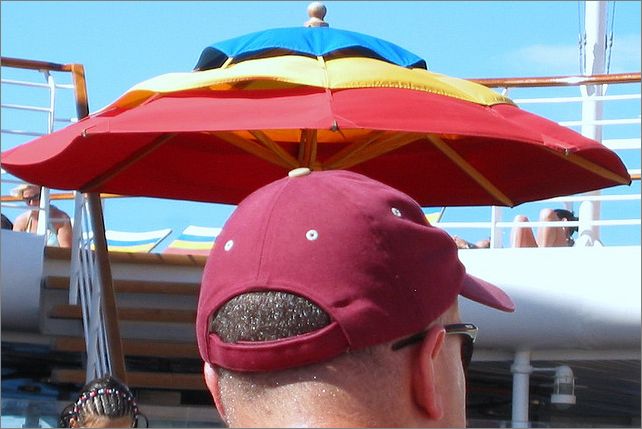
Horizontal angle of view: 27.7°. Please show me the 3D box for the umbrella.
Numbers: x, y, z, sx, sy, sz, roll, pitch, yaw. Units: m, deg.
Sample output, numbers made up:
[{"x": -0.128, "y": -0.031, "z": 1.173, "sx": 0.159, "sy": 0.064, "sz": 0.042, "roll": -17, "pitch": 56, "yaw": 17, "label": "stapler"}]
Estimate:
[{"x": -0.036, "y": -0.560, "z": 8.481, "sx": 2.290, "sy": 0.943, "sz": 2.355, "roll": 4, "pitch": -6, "yaw": -13, "label": "umbrella"}]

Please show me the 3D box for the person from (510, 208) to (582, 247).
[{"x": 1.853, "y": 0.101, "z": 10.695, "sx": 0.527, "sy": 0.447, "sz": 1.558, "roll": -1, "pitch": -6, "yaw": 11, "label": "person"}]

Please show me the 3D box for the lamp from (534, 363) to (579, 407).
[{"x": 1.937, "y": 1.418, "z": 10.791, "sx": 0.326, "sy": 0.346, "sz": 0.531, "roll": 0, "pitch": -5, "yaw": 8, "label": "lamp"}]
